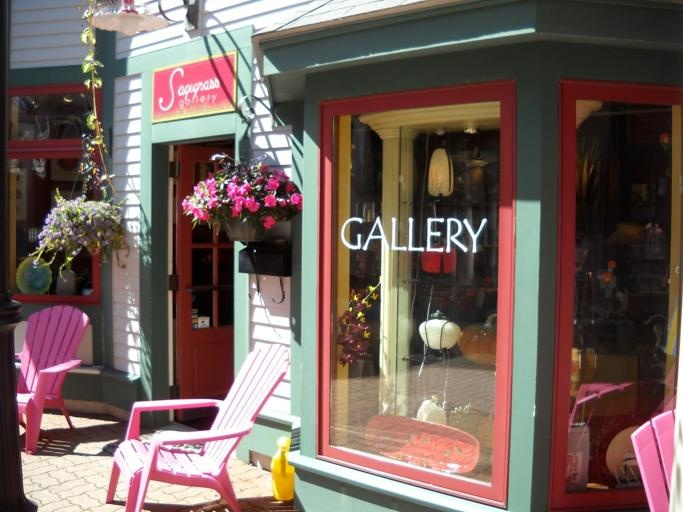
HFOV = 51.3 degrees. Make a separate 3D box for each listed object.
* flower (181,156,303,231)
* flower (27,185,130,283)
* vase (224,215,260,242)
[{"bbox_3d":[-0.702,-0.454,5.288,0.564,0.472,0.635,1,2,26],"label":"flower"},{"bbox_3d":[-2.499,-0.244,6.680,0.854,0.742,0.724,0,-4,42],"label":"flower"},{"bbox_3d":[-0.737,-0.202,5.292,0.185,0.123,0.173,0,-1,1],"label":"vase"}]
